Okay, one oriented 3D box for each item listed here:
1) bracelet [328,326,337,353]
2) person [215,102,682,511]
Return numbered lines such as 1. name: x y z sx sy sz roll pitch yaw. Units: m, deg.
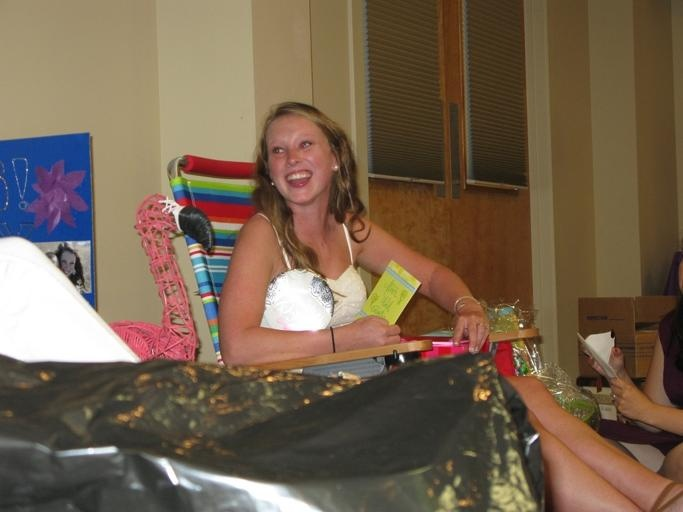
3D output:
1. bracelet: -0.025 0.246 1.779 0.012 0.055 0.046 -2 -6 11
2. person: 0.265 0.016 1.844 1.317 1.031 0.776 1 12 34
